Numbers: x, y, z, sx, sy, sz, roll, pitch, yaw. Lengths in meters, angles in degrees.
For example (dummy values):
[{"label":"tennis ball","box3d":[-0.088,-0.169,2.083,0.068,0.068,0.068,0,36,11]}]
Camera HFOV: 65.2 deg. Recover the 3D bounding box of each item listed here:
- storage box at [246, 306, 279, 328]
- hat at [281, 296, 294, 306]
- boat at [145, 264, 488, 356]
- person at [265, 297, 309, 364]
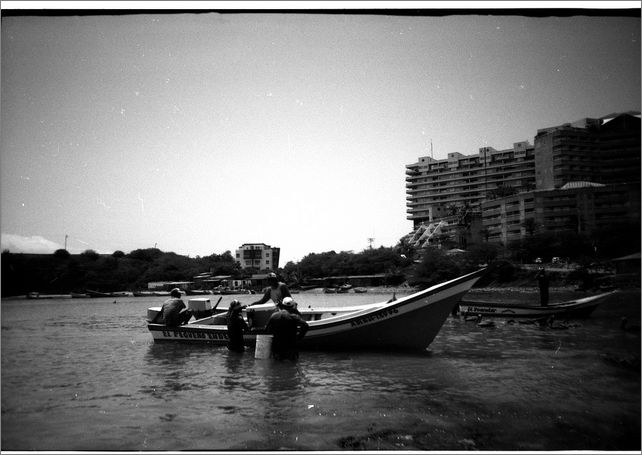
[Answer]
[{"label":"storage box","box3d":[-2.196,3.295,18.652,1.039,0.803,1.100,-3,-4,8]},{"label":"hat","box3d":[-1.104,2.409,16.322,0.445,0.225,0.585,0,4,0]},{"label":"boat","box3d":[-1.359,3.536,19.594,14.246,3.423,4.412,-7,-9,23]},{"label":"person","box3d":[-1.158,3.737,16.856,1.382,3.153,0.864,6,22,4]}]
